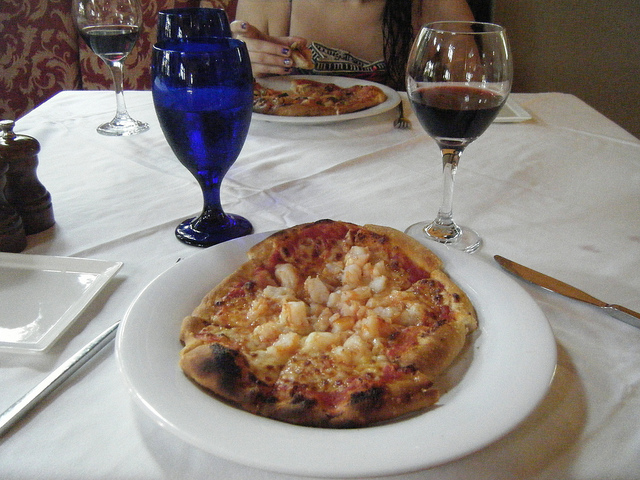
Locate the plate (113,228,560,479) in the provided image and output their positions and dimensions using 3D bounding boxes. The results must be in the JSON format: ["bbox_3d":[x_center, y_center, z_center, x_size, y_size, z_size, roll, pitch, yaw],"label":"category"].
[{"bbox_3d":[0.020,0.122,0.681,0.551,0.063,0.412,3,31,6],"label":"plate"}]

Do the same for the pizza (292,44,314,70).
[{"bbox_3d":[-0.048,-0.608,1.695,0.090,0.027,0.100,-1,49,-8],"label":"pizza"}]

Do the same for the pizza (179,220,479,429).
[{"bbox_3d":[0.028,0.095,0.726,0.360,0.064,0.409,15,34,23],"label":"pizza"}]

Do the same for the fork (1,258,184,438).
[{"bbox_3d":[-0.286,0.146,0.686,0.033,0.020,0.284,21,33,14],"label":"fork"}]

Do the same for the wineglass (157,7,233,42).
[{"bbox_3d":[-0.296,-0.484,1.198,0.150,0.078,0.123,1,22,-2],"label":"wineglass"}]

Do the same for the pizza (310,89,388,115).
[{"bbox_3d":[0.092,-0.411,1.519,0.188,0.030,0.128,-15,23,-35],"label":"pizza"}]

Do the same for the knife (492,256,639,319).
[{"bbox_3d":[0.385,0.077,0.799,0.213,0.009,0.028,23,51,33],"label":"knife"}]
